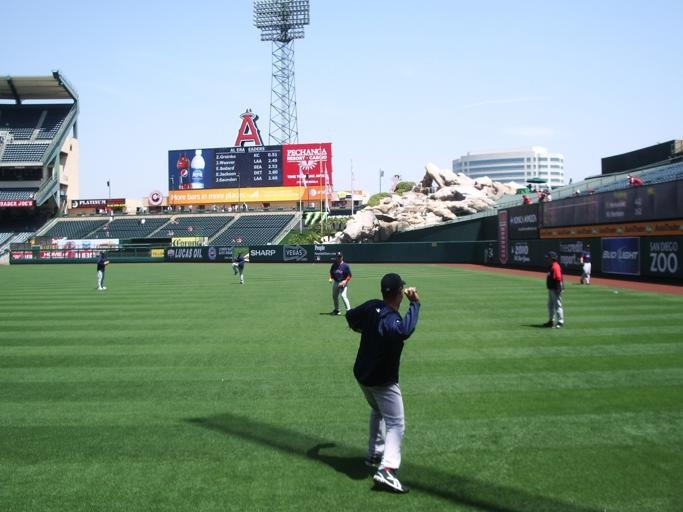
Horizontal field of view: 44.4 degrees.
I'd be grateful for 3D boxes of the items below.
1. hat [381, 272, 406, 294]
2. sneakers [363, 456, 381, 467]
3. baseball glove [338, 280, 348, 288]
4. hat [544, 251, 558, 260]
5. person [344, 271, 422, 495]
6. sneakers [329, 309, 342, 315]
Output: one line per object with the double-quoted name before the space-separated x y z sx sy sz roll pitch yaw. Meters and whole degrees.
"hat" 0.829 0.437 13.717 0.347 0.357 0.302 0 14 1
"sneakers" 0.500 3.479 14.194 0.313 0.143 0.115 -2 5 -3
"baseball glove" 0.030 0.813 24.057 0.164 0.198 0.220 2 -24 44
"hat" 7.795 -0.035 30.998 0.491 0.259 0.365 15 3 1
"person" 0.721 2.044 13.708 1.051 3.473 1.032 0 14 2
"sneakers" -0.195 1.659 24.548 0.323 0.138 0.112 3 1 41
